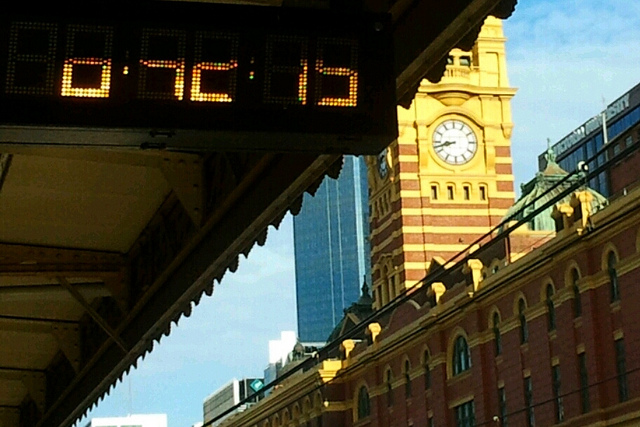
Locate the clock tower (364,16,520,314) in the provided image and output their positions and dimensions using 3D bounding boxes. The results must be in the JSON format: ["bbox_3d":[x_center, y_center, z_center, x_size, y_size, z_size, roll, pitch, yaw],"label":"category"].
[{"bbox_3d":[6.939,-1.838,89.661,6.939,23.626,7.543,2,-12,-10],"label":"clock tower"}]

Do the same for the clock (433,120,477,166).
[{"bbox_3d":[7.574,-3.948,88.084,2.077,2.619,0.265,2,-13,-7],"label":"clock"}]
